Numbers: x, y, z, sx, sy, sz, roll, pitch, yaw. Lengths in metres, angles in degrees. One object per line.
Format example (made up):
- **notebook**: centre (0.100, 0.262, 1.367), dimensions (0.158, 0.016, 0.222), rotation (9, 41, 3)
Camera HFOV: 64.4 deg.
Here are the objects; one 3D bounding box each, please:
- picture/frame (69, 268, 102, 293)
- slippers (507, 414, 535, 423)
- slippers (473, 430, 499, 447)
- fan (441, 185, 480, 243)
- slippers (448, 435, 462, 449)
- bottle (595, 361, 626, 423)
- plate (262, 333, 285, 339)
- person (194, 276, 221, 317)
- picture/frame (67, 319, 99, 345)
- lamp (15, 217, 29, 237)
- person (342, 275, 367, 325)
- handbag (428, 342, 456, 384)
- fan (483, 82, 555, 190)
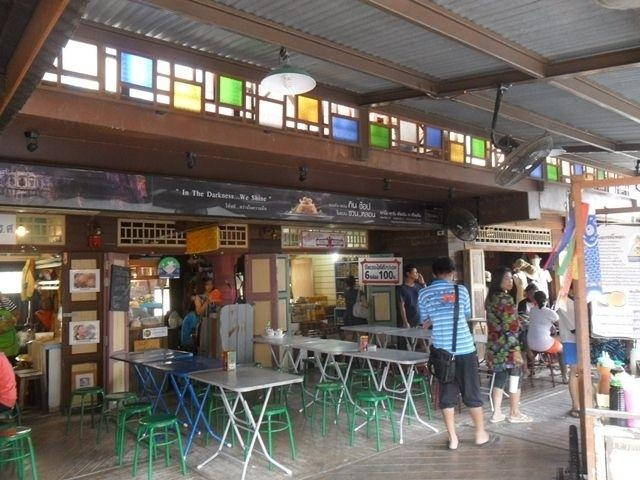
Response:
- **picture/frame**: centre (-3.976, 0.680, 8.576), dimensions (0.439, 0.396, 0.037), rotation (1, -7, -31)
- **slippers**: centre (2.881, 2.560, 7.282), dimensions (0.304, 0.120, 0.139), rotation (-2, -2, -14)
- **slippers**: centre (2.157, 2.574, 6.585), dimensions (0.399, 0.170, 0.136), rotation (-8, 7, -43)
- **fan**: centre (2.718, -0.430, 9.857), dimensions (0.720, 0.935, 1.384), rotation (-3, -5, 17)
- **slippers**: centre (1.671, 2.546, 6.389), dimensions (0.096, 0.178, 0.257), rotation (-4, -27, 6)
- **bottle**: centre (2.417, 1.261, 4.234), dimensions (0.215, 0.431, 0.532), rotation (-4, -5, 29)
- **plate**: centre (-0.825, 1.726, 9.174), dimensions (0.210, 0.049, 0.289), rotation (-5, -8, 37)
- **person**: centre (-2.326, 1.169, 10.517), dimensions (0.486, 0.763, 1.085), rotation (0, -5, -18)
- **picture/frame**: centre (-3.979, 1.537, 8.517), dimensions (0.459, 0.418, 0.049), rotation (2, -4, -28)
- **lamp**: centre (-4.780, -0.208, 8.208), dimensions (0.161, 0.331, 0.106), rotation (0, -5, -25)
- **person**: centre (0.797, 1.340, 11.345), dimensions (0.491, 1.076, 0.493), rotation (-2, -4, 1)
- **handbag**: centre (1.525, 1.552, 6.326), dimensions (0.328, 0.452, 0.192), rotation (-3, -5, 14)
- **fan**: centre (2.662, -1.453, 6.723), dimensions (0.837, 1.506, 0.978), rotation (1, -10, 38)
